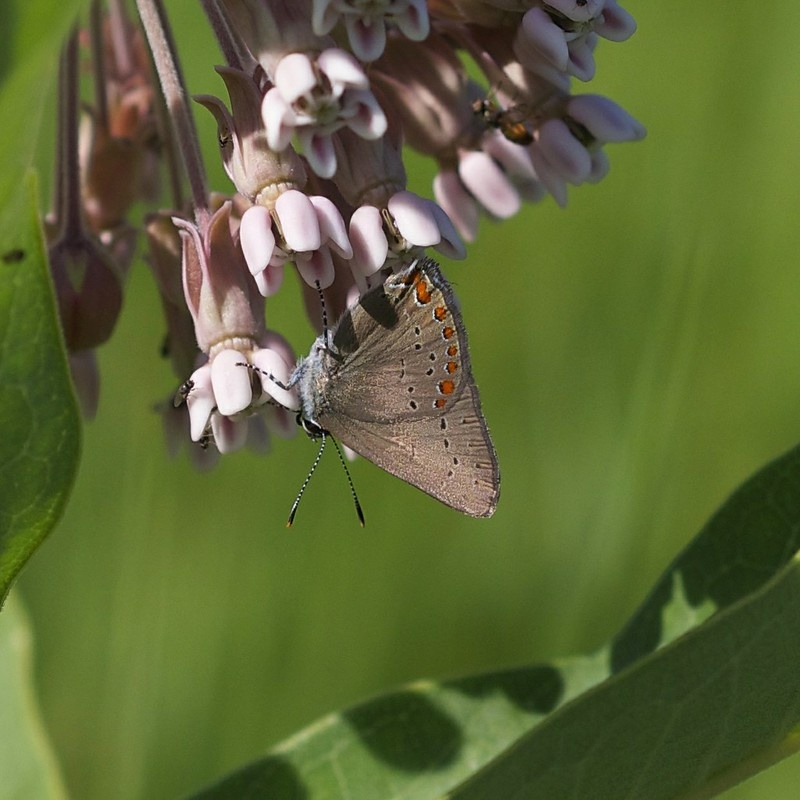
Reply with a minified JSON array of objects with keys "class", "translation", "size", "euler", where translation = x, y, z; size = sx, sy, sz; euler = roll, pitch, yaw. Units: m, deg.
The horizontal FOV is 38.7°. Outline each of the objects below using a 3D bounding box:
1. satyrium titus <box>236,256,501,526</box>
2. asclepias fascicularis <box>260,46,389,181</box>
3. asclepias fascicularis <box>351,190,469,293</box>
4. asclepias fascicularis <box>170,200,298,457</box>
[{"class":"satyrium titus","translation":[-0.017,-0.016,1.275],"size":[0.241,0.314,0.179],"euler":[-3,15,3]},{"class":"asclepias fascicularis","translation":[-0.078,-0.282,1.054],"size":[0.105,0.118,0.046],"euler":[-25,18,7]},{"class":"asclepias fascicularis","translation":[0.003,-0.166,1.113],"size":[0.110,0.084,0.073],"euler":[-14,1,3]},{"class":"asclepias fascicularis","translation":[-0.174,-0.090,1.177],"size":[0.105,0.244,0.095],"euler":[-19,10,-41]}]
